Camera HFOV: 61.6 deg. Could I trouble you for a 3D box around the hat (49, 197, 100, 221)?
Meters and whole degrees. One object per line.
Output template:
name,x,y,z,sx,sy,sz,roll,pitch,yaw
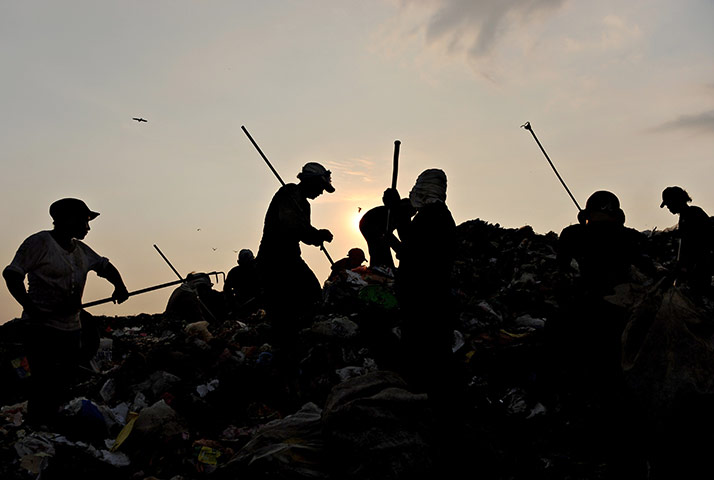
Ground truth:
hat,-2.928,-0.298,6.099,0.303,0.155,0.223,-10,6,-13
